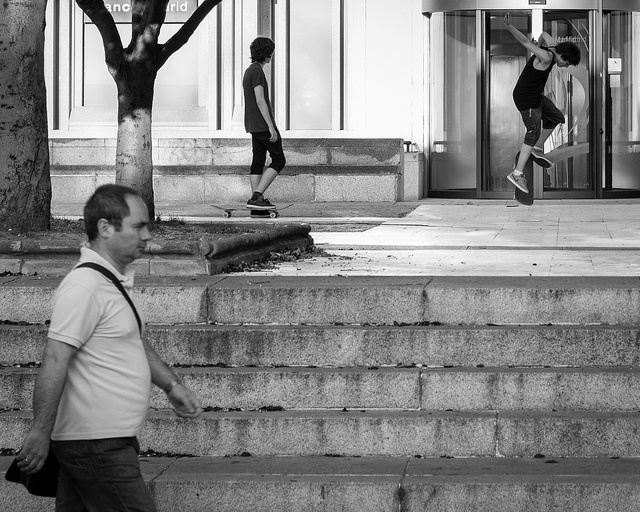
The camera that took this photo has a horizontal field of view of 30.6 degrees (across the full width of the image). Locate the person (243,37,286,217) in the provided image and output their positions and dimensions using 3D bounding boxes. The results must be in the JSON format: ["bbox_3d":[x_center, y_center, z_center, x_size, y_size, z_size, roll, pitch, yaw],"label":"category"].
[{"bbox_3d":[-0.744,-1.668,15.118,0.536,2.344,0.843,0,1,-3],"label":"person"}]

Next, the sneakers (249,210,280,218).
[{"bbox_3d":[-0.726,-0.524,14.905,0.274,0.117,0.139,1,4,9],"label":"sneakers"}]

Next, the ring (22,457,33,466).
[{"bbox_3d":[-1.527,1.064,6.033,0.039,0.036,0.010,18,3,19],"label":"ring"}]

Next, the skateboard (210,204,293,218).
[{"bbox_3d":[-0.924,-0.583,15.534,1.032,0.170,0.257,0,5,10],"label":"skateboard"}]

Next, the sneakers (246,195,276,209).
[{"bbox_3d":[-0.767,-0.679,14.993,0.401,0.171,0.151,1,3,-3],"label":"sneakers"}]
